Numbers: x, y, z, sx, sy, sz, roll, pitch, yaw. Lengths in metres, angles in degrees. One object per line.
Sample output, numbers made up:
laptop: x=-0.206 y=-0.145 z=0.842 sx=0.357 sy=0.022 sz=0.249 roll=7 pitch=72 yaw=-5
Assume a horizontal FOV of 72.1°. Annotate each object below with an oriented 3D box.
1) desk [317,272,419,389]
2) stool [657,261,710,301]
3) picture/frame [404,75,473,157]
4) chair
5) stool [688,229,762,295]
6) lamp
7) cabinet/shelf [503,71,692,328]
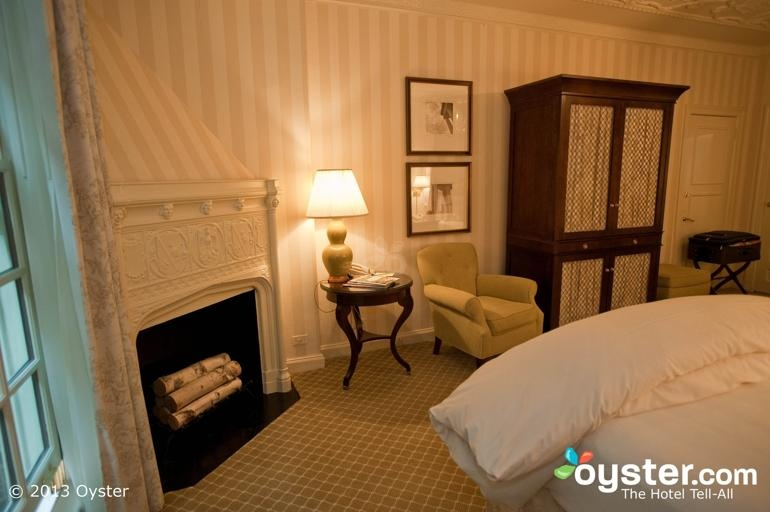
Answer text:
desk: x=-0.106 y=0.646 z=4.659 sx=0.780 sy=0.799 sz=0.784 roll=-6 pitch=-1 yaw=-34
stool: x=3.334 y=0.248 z=5.950 sx=0.560 sy=0.399 sz=0.586 roll=1 pitch=24 yaw=21
picture/frame: x=0.480 y=-1.382 z=5.068 sx=0.746 sy=0.770 sz=0.059 roll=-4 pitch=10 yaw=-19
chair: x=0.854 y=0.416 z=4.935 sx=0.927 sy=1.017 sz=1.002 roll=-8 pitch=10 yaw=-32
stool: x=4.031 y=-0.091 z=6.461 sx=0.919 sy=0.987 sz=0.760 roll=-5 pitch=5 yaw=-24
lamp: x=-0.411 y=-0.273 z=4.538 sx=0.499 sy=0.943 sz=0.309 roll=-5 pitch=17 yaw=-9
cabinet/shelf: x=2.057 y=-0.564 z=5.206 sx=1.485 sy=2.347 sz=0.743 roll=-5 pitch=17 yaw=-11
